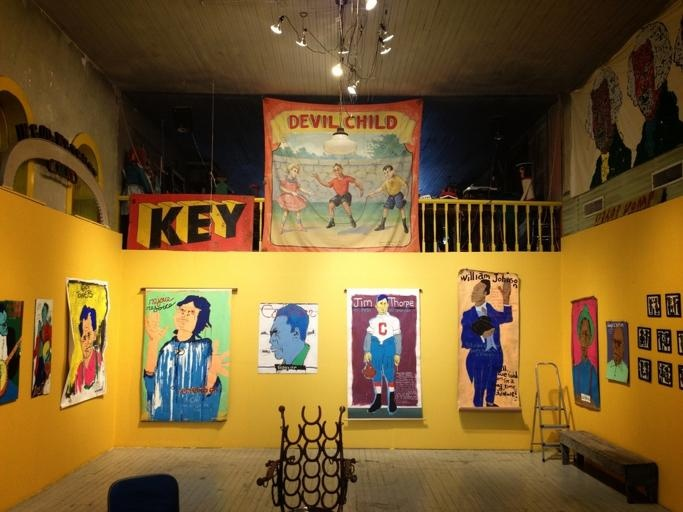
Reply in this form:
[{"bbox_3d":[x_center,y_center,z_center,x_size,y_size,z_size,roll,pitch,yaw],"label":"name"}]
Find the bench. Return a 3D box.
[{"bbox_3d":[4.216,3.339,9.432,0.670,0.822,1.581,2,-7,-13],"label":"bench"}]
